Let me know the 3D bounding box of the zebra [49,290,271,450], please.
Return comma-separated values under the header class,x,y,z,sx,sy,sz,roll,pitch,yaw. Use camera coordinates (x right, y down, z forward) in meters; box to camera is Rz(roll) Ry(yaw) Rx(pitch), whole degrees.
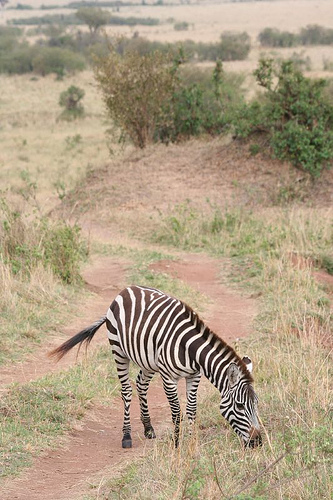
class,x,y,z,sx,sy,sz,roll,pitch,yaw
zebra,-0.116,1.044,6.544,2.085,1.346,0.543,6,10,35
